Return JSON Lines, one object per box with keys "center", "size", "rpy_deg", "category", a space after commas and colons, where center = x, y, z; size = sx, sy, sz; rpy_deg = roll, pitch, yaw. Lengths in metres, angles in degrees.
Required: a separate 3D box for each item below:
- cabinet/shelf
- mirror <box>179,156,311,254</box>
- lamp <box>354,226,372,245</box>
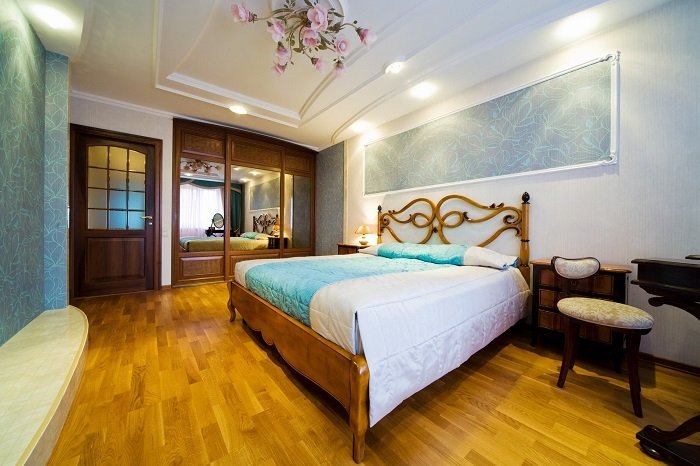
{"center": [-1.754, -0.528, 6.616], "size": [2.243, 2.251, 0.778], "rpy_deg": [-6, 11, -39], "category": "cabinet/shelf"}
{"center": [-1.830, -0.462, 7.004], "size": [1.698, 1.208, 0.041], "rpy_deg": [0, 2, -43], "category": "mirror"}
{"center": [0.194, 0.029, 6.718], "size": [0.269, 0.314, 0.275], "rpy_deg": [-2, 7, -11], "category": "lamp"}
